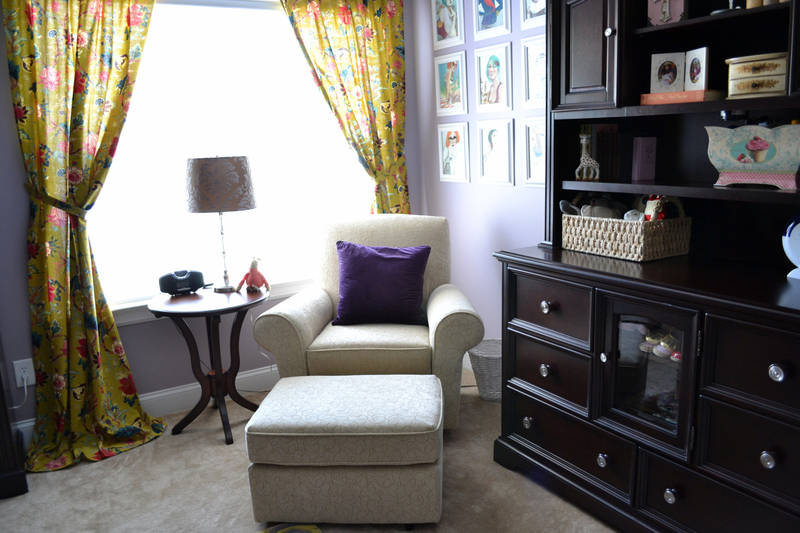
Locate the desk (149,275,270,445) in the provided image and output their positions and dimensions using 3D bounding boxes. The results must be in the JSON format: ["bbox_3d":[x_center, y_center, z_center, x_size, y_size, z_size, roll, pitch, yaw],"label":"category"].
[{"bbox_3d":[-1.164,0.542,3.877,0.804,0.954,0.796,-3,10,-30],"label":"desk"}]

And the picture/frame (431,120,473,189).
[{"bbox_3d":[0.378,-0.802,4.158,0.039,0.556,0.464,-9,10,-37],"label":"picture/frame"}]

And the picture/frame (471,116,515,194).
[{"bbox_3d":[0.619,-0.737,3.857,0.033,0.554,0.463,-7,11,-36],"label":"picture/frame"}]

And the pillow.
[{"bbox_3d":[-0.118,0.111,3.577,0.570,0.538,0.207,2,-2,-2],"label":"pillow"}]
